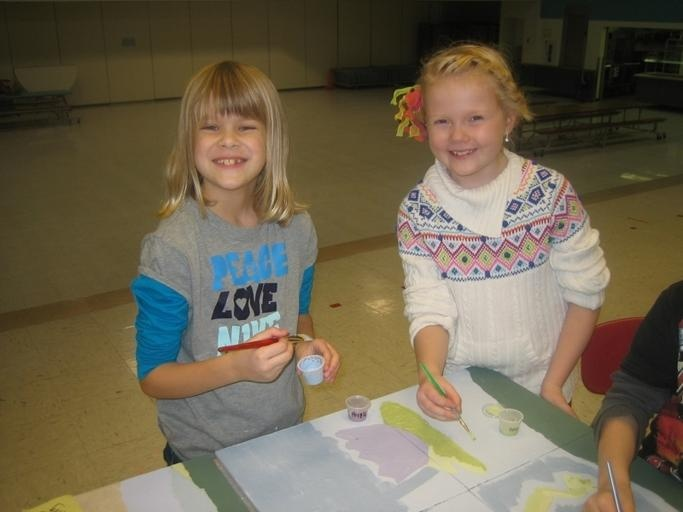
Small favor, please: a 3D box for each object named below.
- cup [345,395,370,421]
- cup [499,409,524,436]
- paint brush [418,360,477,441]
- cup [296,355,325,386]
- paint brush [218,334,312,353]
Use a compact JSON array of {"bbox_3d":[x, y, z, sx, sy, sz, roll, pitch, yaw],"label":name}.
[{"bbox_3d":[0.045,0.458,1.530,0.064,0.042,0.068,-1,19,0],"label":"cup"},{"bbox_3d":[0.494,0.482,1.453,0.058,0.050,0.070,1,26,4],"label":"cup"},{"bbox_3d":[0.317,0.445,1.507,0.029,0.034,0.246,-4,49,-51],"label":"paint brush"},{"bbox_3d":[-0.100,0.360,1.550,0.085,0.060,0.082,-5,27,3],"label":"cup"},{"bbox_3d":[-0.232,0.251,1.435,0.203,0.040,0.054,-9,7,-2],"label":"paint brush"}]
